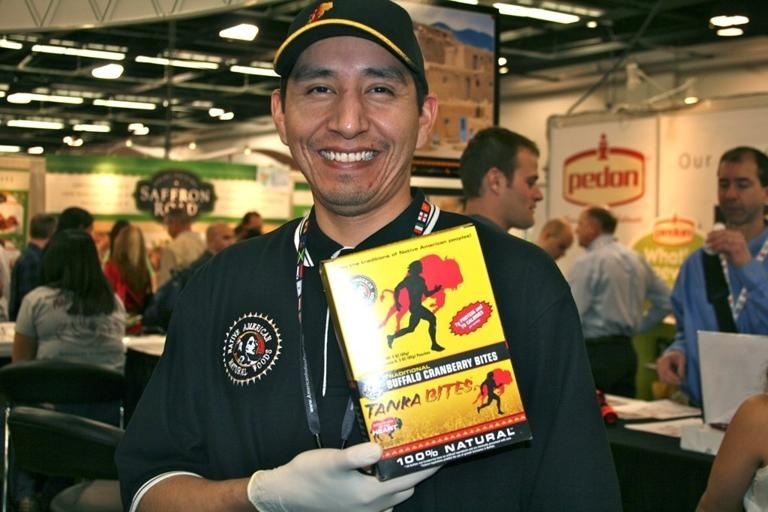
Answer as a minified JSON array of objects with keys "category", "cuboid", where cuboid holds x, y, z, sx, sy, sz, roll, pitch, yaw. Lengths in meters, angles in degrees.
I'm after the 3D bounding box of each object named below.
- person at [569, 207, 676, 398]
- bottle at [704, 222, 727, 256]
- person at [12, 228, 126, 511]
[{"category":"person","cuboid":[2.036,0.776,7.266,0.954,2.314,0.654,-5,15,-4]},{"category":"bottle","cuboid":[2.266,-0.107,5.535,0.062,0.228,0.178,9,29,9]},{"category":"person","cuboid":[-2.555,0.804,6.613,0.835,2.180,0.679,-2,23,-25]}]
